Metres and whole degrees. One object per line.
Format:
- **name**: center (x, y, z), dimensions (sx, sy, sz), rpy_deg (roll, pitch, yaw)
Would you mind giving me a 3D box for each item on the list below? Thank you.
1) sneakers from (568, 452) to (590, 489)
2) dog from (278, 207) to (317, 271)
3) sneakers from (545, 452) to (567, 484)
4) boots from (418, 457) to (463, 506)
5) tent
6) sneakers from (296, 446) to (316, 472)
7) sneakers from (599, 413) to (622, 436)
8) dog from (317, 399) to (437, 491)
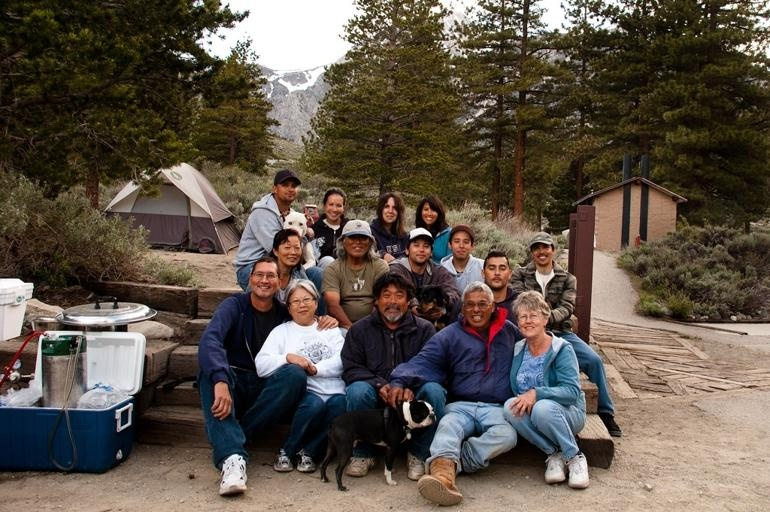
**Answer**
- **sneakers**: center (2.058, 2.254, 6.092), dimensions (0.254, 0.292, 0.249), rpy_deg (3, 11, 8)
- **dog**: center (-1.177, -0.266, 8.052), dimensions (0.443, 0.828, 0.820), rpy_deg (0, 1, 2)
- **sneakers**: center (1.825, 2.258, 6.151), dimensions (0.222, 0.281, 0.179), rpy_deg (4, 11, 16)
- **boots**: center (0.578, 2.289, 5.901), dimensions (0.438, 0.362, 0.404), rpy_deg (2, 11, 7)
- **tent**: center (-5.820, -1.199, 17.289), dimensions (3.036, 1.492, 3.131), rpy_deg (8, 11, 2)
- **sneakers**: center (-0.857, 2.240, 6.334), dimensions (0.210, 0.214, 0.130), rpy_deg (2, 11, 3)
- **sneakers**: center (2.784, 2.086, 7.142), dimensions (0.155, 0.190, 0.473), rpy_deg (7, 1, 11)
- **dog**: center (-0.056, 1.980, 6.246), dimensions (1.214, 0.939, 0.409), rpy_deg (0, -2, -12)
